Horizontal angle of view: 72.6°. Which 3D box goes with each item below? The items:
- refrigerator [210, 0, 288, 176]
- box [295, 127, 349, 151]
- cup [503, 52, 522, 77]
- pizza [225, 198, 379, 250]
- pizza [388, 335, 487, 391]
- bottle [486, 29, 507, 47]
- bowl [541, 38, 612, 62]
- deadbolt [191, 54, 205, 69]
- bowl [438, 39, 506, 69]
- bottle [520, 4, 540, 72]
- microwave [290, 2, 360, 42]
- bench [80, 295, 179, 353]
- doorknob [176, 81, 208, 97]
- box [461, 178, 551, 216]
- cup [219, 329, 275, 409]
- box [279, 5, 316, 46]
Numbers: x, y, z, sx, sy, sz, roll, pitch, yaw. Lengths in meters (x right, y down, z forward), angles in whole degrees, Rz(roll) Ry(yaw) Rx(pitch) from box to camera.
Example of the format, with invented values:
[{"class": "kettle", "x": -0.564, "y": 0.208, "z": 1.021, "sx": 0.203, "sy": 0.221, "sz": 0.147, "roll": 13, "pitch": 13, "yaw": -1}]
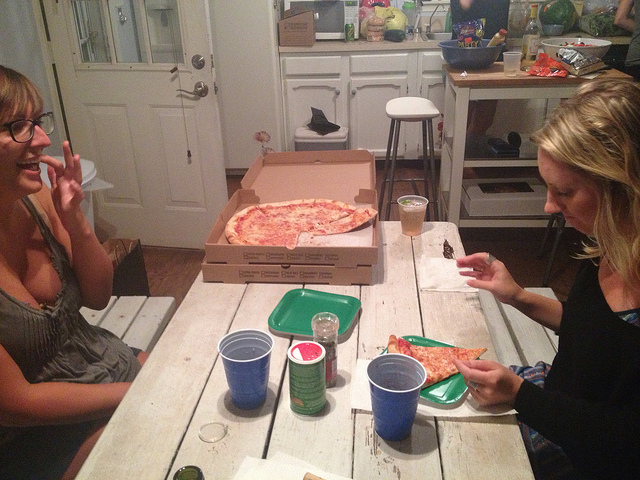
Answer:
[{"class": "refrigerator", "x": -0.661, "y": -1.390, "z": 4.137, "sx": 0.666, "sy": 1.614, "sz": 0.303, "roll": -10, "pitch": 28, "yaw": -12}, {"class": "box", "x": 0.006, "y": -0.936, "z": 3.992, "sx": 0.486, "sy": 0.181, "sz": 0.279, "roll": -3, "pitch": 28, "yaw": 0}, {"class": "cup", "x": 1.240, "y": -1.138, "z": 2.787, "sx": 0.097, "sy": 0.140, "sz": 0.178, "roll": 8, "pitch": 30, "yaw": 20}, {"class": "pizza", "x": -0.092, "y": -0.076, "z": 1.647, "sx": 0.384, "sy": 0.060, "sz": 0.260, "roll": 0, "pitch": 29, "yaw": -1}, {"class": "pizza", "x": 0.309, "y": 0.304, "z": 1.110, "sx": 0.174, "sy": 0.038, "sz": 0.142, "roll": -6, "pitch": 20, "yaw": -5}, {"class": "bottle", "x": 1.174, "y": -1.342, "z": 2.868, "sx": 0.107, "sy": 0.097, "sz": 0.260, "roll": 7, "pitch": 30, "yaw": 18}, {"class": "bowl", "x": 1.693, "y": -1.284, "z": 2.901, "sx": 0.396, "sy": 0.112, "sz": 0.429, "roll": -2, "pitch": 28, "yaw": 1}, {"class": "deadbolt", "x": -0.787, "y": -1.152, "z": 2.792, "sx": 0.085, "sy": 0.087, "sz": 0.017, "roll": 1, "pitch": 28, "yaw": 8}, {"class": "bowl", "x": 1.009, "y": -1.238, "z": 2.919, "sx": 0.289, "sy": 0.110, "sz": 0.298, "roll": -3, "pitch": 30, "yaw": 2}, {"class": "bottle", "x": 1.451, "y": -1.382, "z": 2.940, "sx": 0.102, "sy": 0.369, "sz": 0.265, "roll": 9, "pitch": 30, "yaw": 22}, {"class": "microwave", "x": 0.049, "y": -2.145, "z": 4.216, "sx": 0.461, "sy": 0.312, "sz": 0.243, "roll": 2, "pitch": 32, "yaw": 6}, {"class": "bench", "x": -0.857, "y": 0.421, "z": 1.965, "sx": 0.344, "sy": 0.084, "sz": 0.402, "roll": 9, "pitch": 35, "yaw": 10}, {"class": "doorknob", "x": -0.851, "y": -1.003, "z": 2.874, "sx": 0.224, "sy": 0.098, "sz": 0.038, "roll": 8, "pitch": 30, "yaw": 19}, {"class": "box", "x": 1.387, "y": -0.342, "z": 3.246, "sx": 0.631, "sy": 0.157, "sz": 0.432, "roll": 0, "pitch": 29, "yaw": 5}, {"class": "cup", "x": -0.144, "y": 0.295, "z": 1.087, "sx": 0.158, "sy": 0.171, "sz": 0.161, "roll": -1, "pitch": 24, "yaw": 0}, {"class": "box", "x": -0.181, "y": -1.981, "z": 4.074, "sx": 0.367, "sy": 0.376, "sz": 0.345, "roll": 0, "pitch": 26, "yaw": 1}]
